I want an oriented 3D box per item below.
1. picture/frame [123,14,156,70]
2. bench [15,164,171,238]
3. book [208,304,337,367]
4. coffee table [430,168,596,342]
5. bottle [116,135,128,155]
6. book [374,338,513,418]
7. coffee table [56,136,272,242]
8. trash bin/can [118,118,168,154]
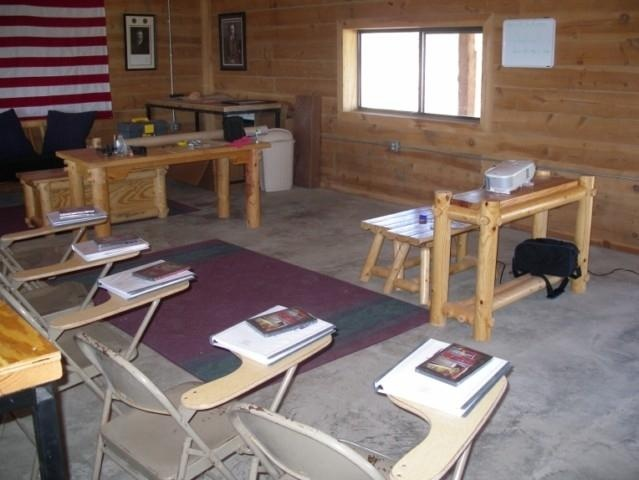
[{"bbox_3d":[-3.277,-3.622,8.716,0.078,0.881,0.696,23,32,22],"label":"picture/frame"},{"bbox_3d":[-2.830,-0.534,6.166,1.043,0.725,1.662,-4,7,11],"label":"bench"},{"bbox_3d":[-0.183,0.397,2.027,0.295,0.047,0.295,15,25,40],"label":"book"},{"bbox_3d":[1.619,0.161,3.965,1.474,0.952,0.633,-16,26,-32],"label":"coffee table"},{"bbox_3d":[-2.138,-1.029,5.182,0.127,0.192,0.234,-9,20,-19],"label":"bottle"},{"bbox_3d":[0.461,0.498,1.771,0.333,0.072,0.424,13,23,39],"label":"book"},{"bbox_3d":[-1.773,-0.620,5.780,2.135,0.910,0.971,-14,21,-35],"label":"coffee table"},{"bbox_3d":[-2.055,-1.206,5.603,0.556,0.332,0.312,-18,31,-41],"label":"trash bin/can"}]
